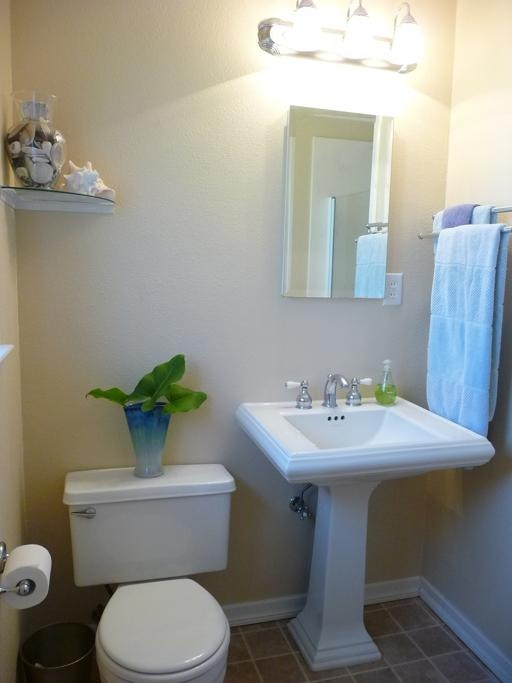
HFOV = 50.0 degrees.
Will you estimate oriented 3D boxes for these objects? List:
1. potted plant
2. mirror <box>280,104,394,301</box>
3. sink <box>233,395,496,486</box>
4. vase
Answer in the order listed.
[{"bbox_3d":[-0.328,0.223,1.638,0.329,0.365,0.214,-1,6,-19],"label":"potted plant"},{"bbox_3d":[0.269,-0.444,1.810,0.378,0.595,0.050,-1,7,-20],"label":"mirror"},{"bbox_3d":[0.294,0.312,1.668,0.629,0.162,0.496,0,6,-16],"label":"sink"},{"bbox_3d":[-0.578,-0.496,1.385,0.170,0.233,0.100,2,6,14],"label":"vase"}]
